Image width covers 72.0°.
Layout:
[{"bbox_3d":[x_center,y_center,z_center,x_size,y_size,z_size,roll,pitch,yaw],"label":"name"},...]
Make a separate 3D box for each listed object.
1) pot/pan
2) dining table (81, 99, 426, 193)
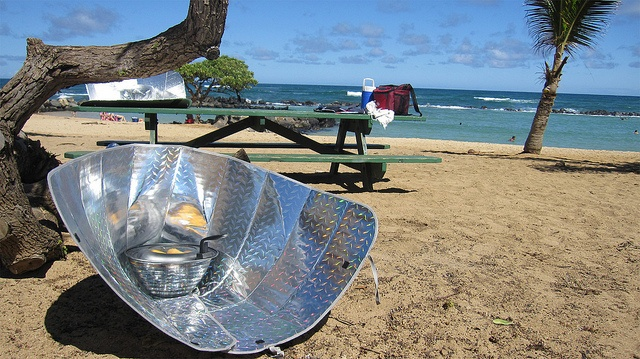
[{"bbox_3d":[-1.777,1.042,5.268,0.875,0.452,0.686,3,-2,-12],"label":"pot/pan"},{"bbox_3d":[-0.593,-0.645,8.573,5.337,1.765,2.150,-6,19,-17],"label":"dining table"}]
